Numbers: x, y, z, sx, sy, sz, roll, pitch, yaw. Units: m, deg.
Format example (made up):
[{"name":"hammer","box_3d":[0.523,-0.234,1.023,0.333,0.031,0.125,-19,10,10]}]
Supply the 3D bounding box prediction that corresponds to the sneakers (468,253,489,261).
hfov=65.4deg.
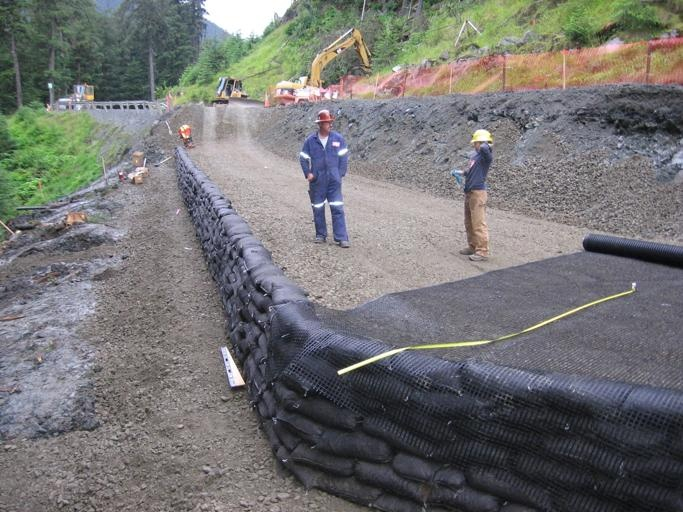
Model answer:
[{"name":"sneakers","box_3d":[2.011,0.017,7.705,0.242,0.097,0.108,2,14,-1]}]

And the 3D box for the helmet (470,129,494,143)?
[{"name":"helmet","box_3d":[2.043,-1.702,7.624,0.232,0.178,0.407,5,18,20]}]

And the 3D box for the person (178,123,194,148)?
[{"name":"person","box_3d":[-5.702,-4.363,19.501,0.373,0.783,1.188,-8,18,-18]}]

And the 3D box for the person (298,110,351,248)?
[{"name":"person","box_3d":[-0.236,-1.162,8.017,0.704,1.982,0.890,-2,19,-1]}]

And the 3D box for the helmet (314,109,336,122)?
[{"name":"helmet","box_3d":[-0.241,-2.009,7.678,0.185,0.162,0.408,-3,17,-3]}]

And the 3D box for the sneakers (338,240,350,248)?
[{"name":"sneakers","box_3d":[0.048,-0.170,7.986,0.086,0.063,0.156,-5,5,-26]}]

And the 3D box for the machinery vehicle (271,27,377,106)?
[{"name":"machinery vehicle","box_3d":[-0.922,-9.131,26.177,5.325,2.812,1.504,-13,36,2]}]
